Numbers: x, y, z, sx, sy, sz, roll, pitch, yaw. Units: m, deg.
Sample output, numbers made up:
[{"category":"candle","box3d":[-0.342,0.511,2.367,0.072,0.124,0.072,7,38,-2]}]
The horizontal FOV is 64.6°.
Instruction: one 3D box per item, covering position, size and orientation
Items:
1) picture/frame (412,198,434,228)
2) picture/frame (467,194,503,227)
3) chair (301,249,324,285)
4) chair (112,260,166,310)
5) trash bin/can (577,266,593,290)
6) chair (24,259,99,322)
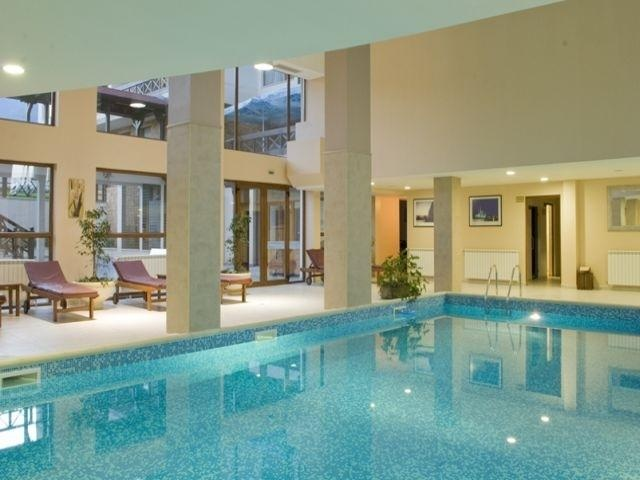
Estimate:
[{"category":"picture/frame","box3d":[3.345,-0.918,16.267,0.055,1.099,0.920,4,-4,-44]},{"category":"picture/frame","box3d":[5.009,-0.925,15.221,0.034,0.992,0.903,0,1,-44]},{"category":"chair","box3d":[-0.071,0.730,15.251,0.662,1.028,0.946,0,-3,-29]},{"category":"chair","box3d":[-3.886,0.937,11.004,1.602,1.075,0.886,3,4,43]},{"category":"trash bin/can","box3d":[7.059,0.991,13.382,0.521,0.590,0.281,-2,4,-26]},{"category":"chair","box3d":[-4.865,0.944,9.752,1.832,1.154,0.948,2,2,42]}]
